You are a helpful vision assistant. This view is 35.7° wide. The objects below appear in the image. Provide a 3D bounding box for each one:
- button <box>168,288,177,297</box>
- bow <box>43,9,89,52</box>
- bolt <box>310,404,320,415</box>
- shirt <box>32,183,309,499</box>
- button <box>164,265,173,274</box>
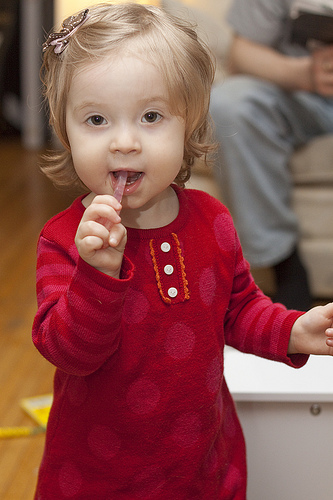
[{"bbox_3d":[0.005,0.040,0.486,0.007,0.006,0.009,19,36,30],"label":"button"},{"bbox_3d":[-0.093,-0.209,0.484,0.044,0.012,0.034,-40,21,-17],"label":"bow"},{"bbox_3d":[0.191,0.205,0.665,0.013,0.015,0.004,6,33,11],"label":"bolt"},{"bbox_3d":[-0.012,0.098,0.546,0.301,0.323,0.229,-10,32,-15],"label":"shirt"},{"bbox_3d":[0.001,0.018,0.492,0.009,0.007,0.006,-8,32,-12],"label":"button"}]
